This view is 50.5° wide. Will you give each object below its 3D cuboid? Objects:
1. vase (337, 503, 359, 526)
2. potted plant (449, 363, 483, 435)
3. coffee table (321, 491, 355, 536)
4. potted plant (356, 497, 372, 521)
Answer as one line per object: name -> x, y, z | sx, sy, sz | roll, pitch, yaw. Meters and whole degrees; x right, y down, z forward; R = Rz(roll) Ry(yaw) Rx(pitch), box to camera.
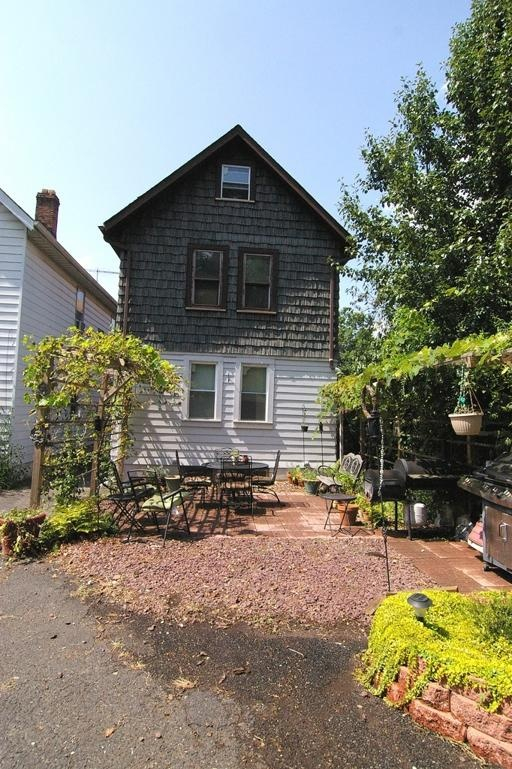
vase -> 1.190, 1.673, 6.967 | 0.251, 0.224, 0.268 | 0, -11, 0
potted plant -> 2.114, 0.180, 5.418 | 0.320, 0.671, 0.313 | 13, -14, -40
coffee table -> 1.048, 1.559, 6.816 | 0.533, 0.647, 0.559 | 0, -10, 6
potted plant -> 1.468, 1.694, 7.369 | 0.215, 0.199, 0.252 | 0, -14, -2
